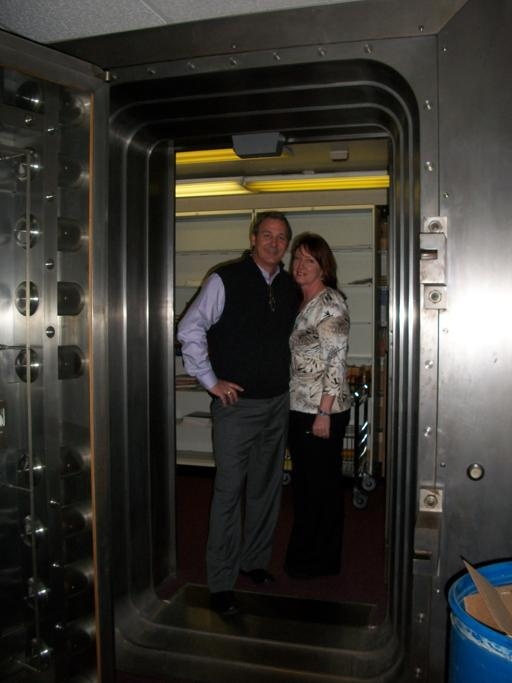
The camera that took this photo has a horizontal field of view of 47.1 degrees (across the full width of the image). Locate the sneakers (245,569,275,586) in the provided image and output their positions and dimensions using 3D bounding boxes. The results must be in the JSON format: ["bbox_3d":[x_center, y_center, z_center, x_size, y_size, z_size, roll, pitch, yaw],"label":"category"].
[{"bbox_3d":[0.016,1.049,2.648,0.129,0.063,0.056,-8,-14,36],"label":"sneakers"}]

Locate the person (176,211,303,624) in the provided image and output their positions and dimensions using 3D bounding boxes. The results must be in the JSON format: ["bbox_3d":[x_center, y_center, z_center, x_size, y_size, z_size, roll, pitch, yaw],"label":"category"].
[{"bbox_3d":[-0.061,0.262,2.491,0.333,1.639,0.557,1,-1,36],"label":"person"}]

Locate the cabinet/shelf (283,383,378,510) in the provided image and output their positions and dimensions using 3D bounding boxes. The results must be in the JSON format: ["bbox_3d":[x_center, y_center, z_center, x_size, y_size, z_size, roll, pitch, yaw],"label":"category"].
[{"bbox_3d":[0.572,0.737,4.511,0.620,1.046,0.910,3,-20,-3],"label":"cabinet/shelf"}]

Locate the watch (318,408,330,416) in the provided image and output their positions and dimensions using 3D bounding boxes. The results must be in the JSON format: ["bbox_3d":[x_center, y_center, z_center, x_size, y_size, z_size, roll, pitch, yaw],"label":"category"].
[{"bbox_3d":[0.279,0.294,2.457,0.036,0.014,0.026,46,-20,-30],"label":"watch"}]

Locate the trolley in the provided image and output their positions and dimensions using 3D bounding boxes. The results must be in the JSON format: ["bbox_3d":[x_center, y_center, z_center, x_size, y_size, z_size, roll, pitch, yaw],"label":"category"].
[{"bbox_3d":[0.444,0.620,4.194,0.575,1.110,0.847,1,5,11],"label":"trolley"}]
